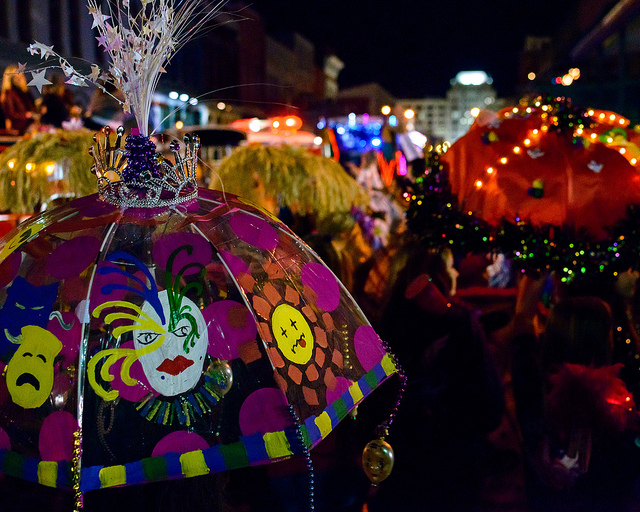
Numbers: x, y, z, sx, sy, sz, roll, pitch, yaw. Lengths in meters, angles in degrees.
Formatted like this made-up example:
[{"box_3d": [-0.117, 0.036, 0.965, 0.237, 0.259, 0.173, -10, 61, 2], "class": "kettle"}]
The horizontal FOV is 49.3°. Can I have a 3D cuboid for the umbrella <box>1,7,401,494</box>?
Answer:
[{"box_3d": [-0.466, -0.061, 3.298, 1.640, 1.797, 1.851, -3, 16, 1], "class": "umbrella"}]

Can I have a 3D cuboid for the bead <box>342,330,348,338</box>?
[{"box_3d": [0.107, 0.324, 2.923, 0.019, 0.024, 0.031, 14, 17, 31], "class": "bead"}]

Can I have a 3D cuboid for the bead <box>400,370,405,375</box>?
[{"box_3d": [0.356, 0.499, 3.004, 0.017, 0.009, 0.018, -4, -4, -5], "class": "bead"}]

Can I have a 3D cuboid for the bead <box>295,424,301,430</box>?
[{"box_3d": [-0.086, 0.660, 2.703, 0.015, 0.008, 0.015, -6, 8, -29], "class": "bead"}]

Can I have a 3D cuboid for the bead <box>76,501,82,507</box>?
[{"box_3d": [-0.882, 0.899, 2.536, 0.014, 0.007, 0.016, -1, -3, -45], "class": "bead"}]

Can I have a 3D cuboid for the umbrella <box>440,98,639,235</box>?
[{"box_3d": [1.374, -0.368, 4.337, 0.919, 0.460, 0.974, 24, 50, 23], "class": "umbrella"}]

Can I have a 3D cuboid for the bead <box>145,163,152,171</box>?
[{"box_3d": [-0.691, -0.359, 2.799, 0.023, 0.012, 0.025, 9, 30, 26], "class": "bead"}]

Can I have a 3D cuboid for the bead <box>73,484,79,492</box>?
[{"box_3d": [-0.893, 0.843, 2.543, 0.016, 0.026, 0.008, -2, 1, -7], "class": "bead"}]

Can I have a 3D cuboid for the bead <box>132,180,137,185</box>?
[{"box_3d": [-0.745, -0.294, 2.790, 0.012, 0.006, 0.012, 14, 28, 34], "class": "bead"}]

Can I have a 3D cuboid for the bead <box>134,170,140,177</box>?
[{"box_3d": [-0.734, -0.332, 2.793, 0.020, 0.011, 0.021, 6, 30, 16], "class": "bead"}]

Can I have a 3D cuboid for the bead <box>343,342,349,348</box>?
[{"box_3d": [0.109, 0.368, 2.904, 0.027, 0.017, 0.014, -3, 17, -29], "class": "bead"}]

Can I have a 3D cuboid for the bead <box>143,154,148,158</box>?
[{"box_3d": [-0.702, -0.402, 2.793, 0.017, 0.012, 0.004, 0, 14, -20], "class": "bead"}]

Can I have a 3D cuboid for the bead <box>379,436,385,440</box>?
[{"box_3d": [0.278, 0.814, 3.130, 0.021, 0.009, 0.026, -13, 37, 19], "class": "bead"}]

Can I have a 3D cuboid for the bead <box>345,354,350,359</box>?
[{"box_3d": [0.114, 0.414, 2.891, 0.021, 0.016, 0.010, 0, 15, -18], "class": "bead"}]
